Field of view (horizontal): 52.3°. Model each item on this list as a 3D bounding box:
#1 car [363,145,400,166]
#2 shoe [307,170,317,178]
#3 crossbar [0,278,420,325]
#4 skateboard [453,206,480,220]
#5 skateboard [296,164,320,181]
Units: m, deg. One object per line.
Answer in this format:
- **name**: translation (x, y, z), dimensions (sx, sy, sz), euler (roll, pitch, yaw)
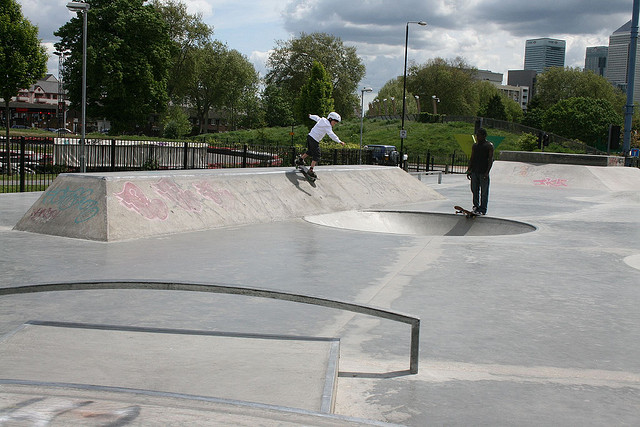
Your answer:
- **car**: translation (3.777, -3.830, 42.133), dimensions (2.382, 1.070, 1.383), euler (13, 15, 43)
- **shoe**: translation (-0.186, -0.977, 16.011), dimensions (0.177, 0.205, 0.406), euler (8, 12, 23)
- **crossbar**: translation (-1.494, 1.096, 7.919), dimensions (3.709, 0.141, 0.302), euler (5, 8, 7)
- **skateboard**: translation (3.392, -0.039, 15.026), dimensions (0.224, 0.110, 0.819), euler (-4, -29, 46)
- **skateboard**: translation (-0.368, -1.048, 15.960), dimensions (0.750, 0.126, 0.226), euler (35, 26, 28)
